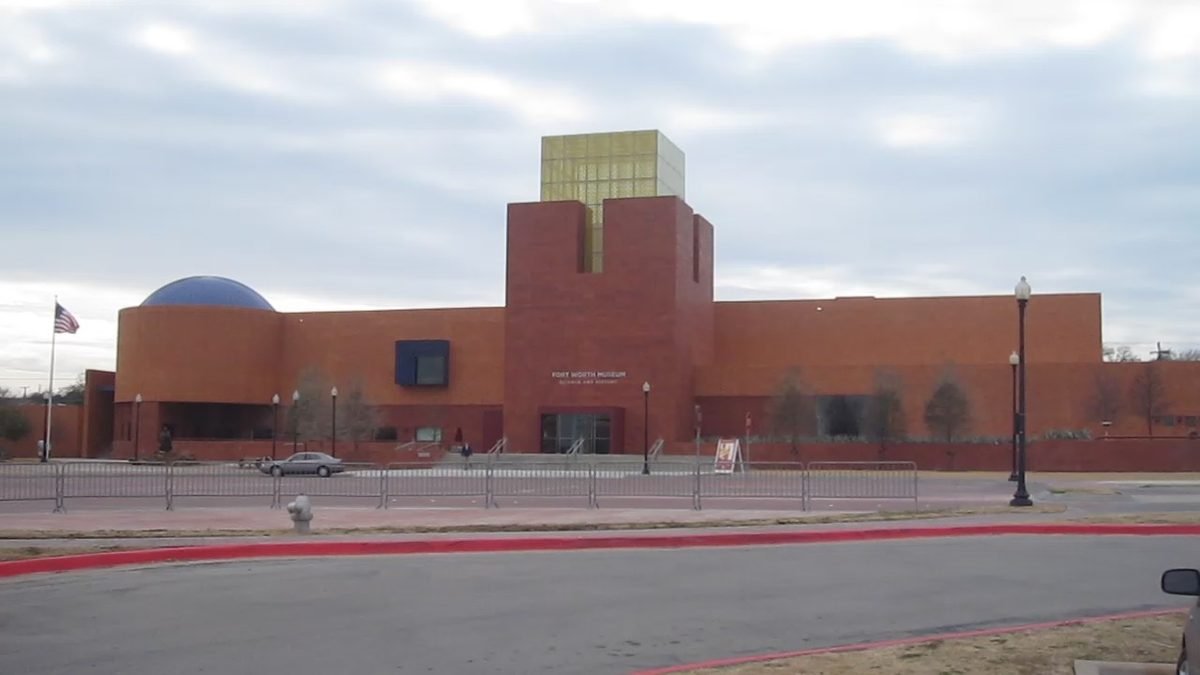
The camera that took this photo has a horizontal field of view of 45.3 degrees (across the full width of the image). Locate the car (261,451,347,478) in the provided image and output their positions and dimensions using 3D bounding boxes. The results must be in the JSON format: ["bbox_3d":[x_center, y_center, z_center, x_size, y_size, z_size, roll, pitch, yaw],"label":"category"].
[{"bbox_3d":[-16.091,7.112,79.375,3.455,1.179,2.548,-1,3,15],"label":"car"}]
